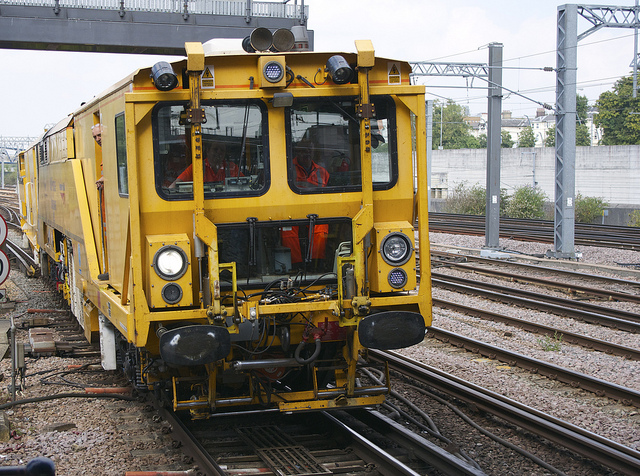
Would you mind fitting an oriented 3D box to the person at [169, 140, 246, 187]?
[{"bbox_3d":[-1.187,-0.854,6.731,1.031,0.530,0.343,-2,10,-38],"label":"person"}]

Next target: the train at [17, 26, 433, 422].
[{"bbox_3d":[-1.289,0.346,12.218,3.210,4.621,12.575,-2,-3,-9],"label":"train"}]
